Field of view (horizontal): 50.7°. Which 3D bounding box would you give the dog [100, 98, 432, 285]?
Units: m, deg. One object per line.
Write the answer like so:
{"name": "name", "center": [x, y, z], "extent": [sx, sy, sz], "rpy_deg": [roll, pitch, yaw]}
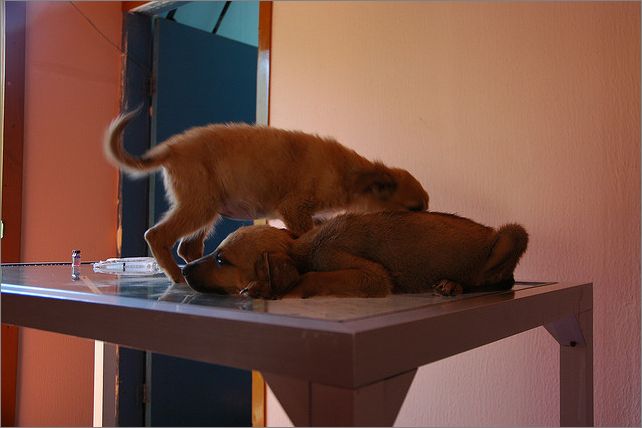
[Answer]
{"name": "dog", "center": [-0.155, -0.026, 1.829], "extent": [0.873, 0.473, 0.222], "rpy_deg": [5, 9, 1]}

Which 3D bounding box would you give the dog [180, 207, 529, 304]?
{"name": "dog", "center": [0.111, 0.134, 1.717], "extent": [0.753, 0.215, 0.311], "rpy_deg": [-1, -10, -3]}
